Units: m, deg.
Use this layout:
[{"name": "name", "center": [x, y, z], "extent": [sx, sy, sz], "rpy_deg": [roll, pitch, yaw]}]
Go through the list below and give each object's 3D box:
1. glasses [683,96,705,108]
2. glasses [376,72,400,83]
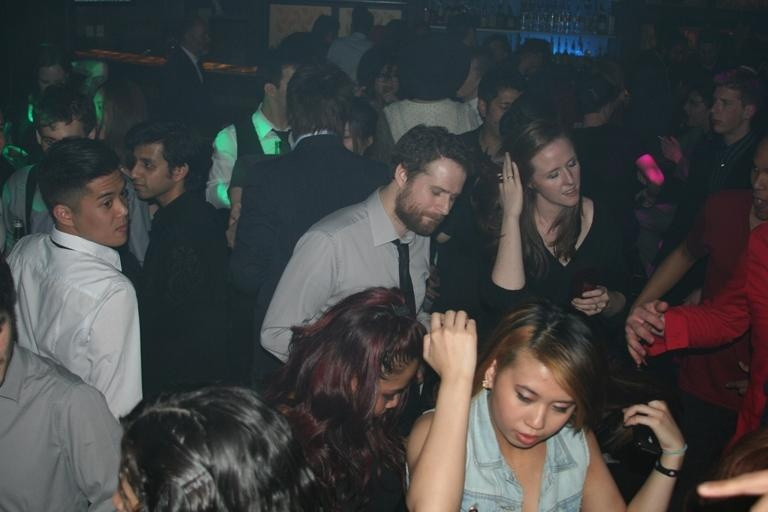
[{"name": "glasses", "center": [3.132, -1.576, 7.086], "extent": [0.080, 0.130, 0.212], "rpy_deg": [-1, 6, -40]}, {"name": "glasses", "center": [0.031, -1.710, 6.622], "extent": [0.179, 0.101, 0.045], "rpy_deg": [3, 6, -6]}]
